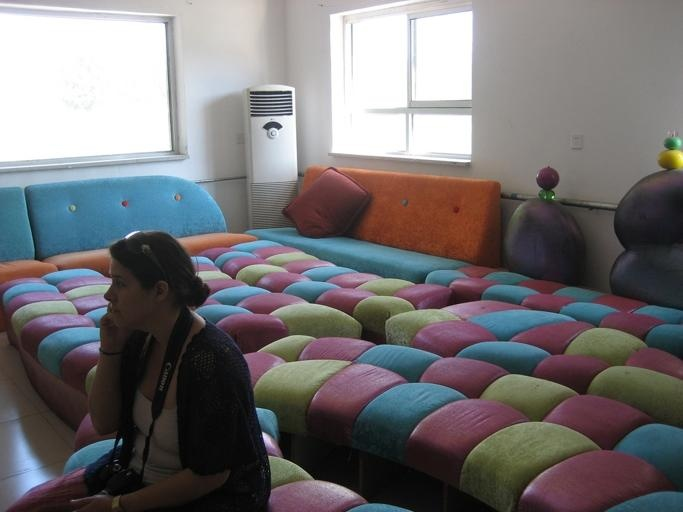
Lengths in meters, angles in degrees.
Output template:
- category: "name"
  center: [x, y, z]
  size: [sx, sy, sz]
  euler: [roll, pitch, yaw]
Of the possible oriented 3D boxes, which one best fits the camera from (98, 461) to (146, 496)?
- category: "camera"
  center: [-0.562, 0.571, 1.297]
  size: [0.085, 0.035, 0.083]
  euler: [5, 41, 9]
